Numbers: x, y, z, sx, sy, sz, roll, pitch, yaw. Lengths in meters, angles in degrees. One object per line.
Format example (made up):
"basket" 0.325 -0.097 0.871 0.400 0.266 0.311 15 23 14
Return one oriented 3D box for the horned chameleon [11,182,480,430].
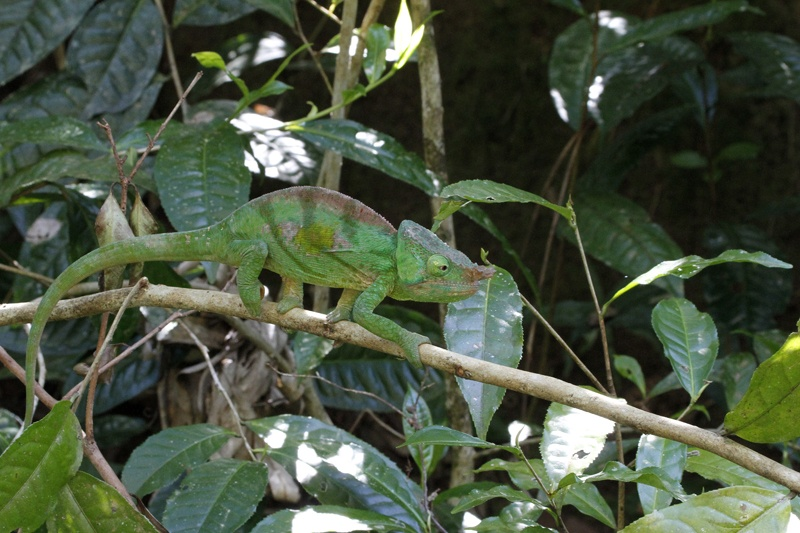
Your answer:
"horned chameleon" -0.587 0.033 3.162 2.140 0.924 0.617 3 19 3
